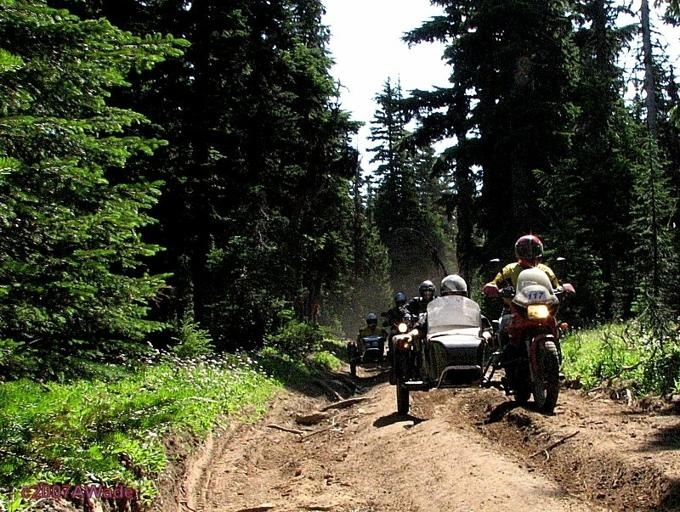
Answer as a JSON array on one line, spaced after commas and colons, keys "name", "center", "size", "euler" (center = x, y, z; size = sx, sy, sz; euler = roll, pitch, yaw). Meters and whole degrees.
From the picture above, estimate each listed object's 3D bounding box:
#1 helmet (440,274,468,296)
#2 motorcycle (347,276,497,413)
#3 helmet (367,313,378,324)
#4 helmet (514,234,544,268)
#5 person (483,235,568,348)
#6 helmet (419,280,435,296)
[{"name": "helmet", "center": [1.880, 0.500, 12.229], "size": [0.414, 0.355, 0.316], "euler": [0, 1, -24]}, {"name": "motorcycle", "center": [1.636, 1.521, 12.482], "size": [1.536, 1.583, 2.704], "euler": [-1, -21, -9]}, {"name": "helmet", "center": [1.005, 2.024, 23.562], "size": [0.263, 0.312, 0.342], "euler": [0, -18, -10]}, {"name": "helmet", "center": [3.142, -0.092, 12.278], "size": [0.436, 0.572, 0.553], "euler": [0, 0, 6]}, {"name": "person", "center": [3.104, 0.572, 12.272], "size": [1.644, 1.430, 0.937], "euler": [0, 0, 15]}, {"name": "helmet", "center": [1.646, 0.623, 14.042], "size": [0.246, 0.290, 0.297], "euler": [-1, -15, 7]}]
